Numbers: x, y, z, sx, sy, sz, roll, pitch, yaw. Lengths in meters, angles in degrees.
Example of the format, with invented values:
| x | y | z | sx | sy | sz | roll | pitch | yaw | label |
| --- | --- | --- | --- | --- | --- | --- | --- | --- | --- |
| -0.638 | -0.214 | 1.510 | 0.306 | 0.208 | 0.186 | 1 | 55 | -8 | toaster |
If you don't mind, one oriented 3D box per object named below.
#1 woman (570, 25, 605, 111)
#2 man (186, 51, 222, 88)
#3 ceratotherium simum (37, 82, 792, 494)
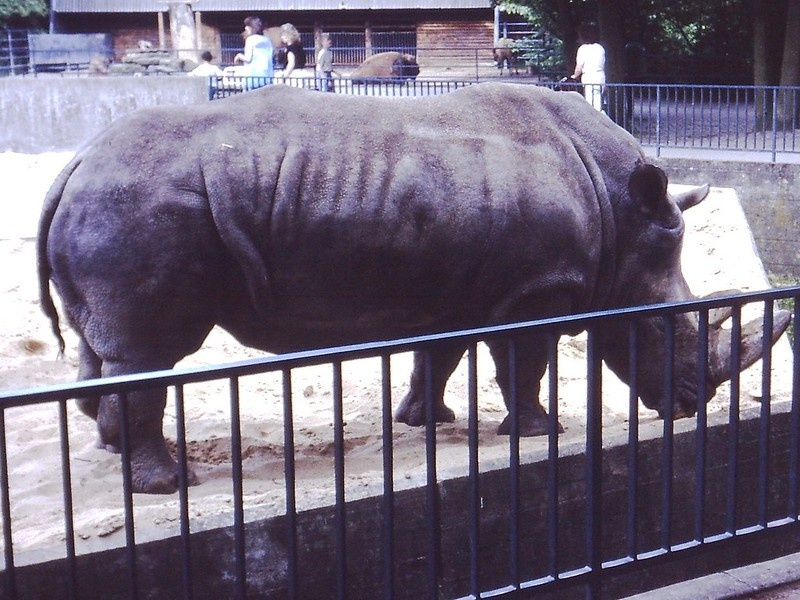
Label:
| x | y | z | sx | sy | sz | roll | pitch | yaw | label |
| --- | --- | --- | --- | --- | --- | --- | --- | --- | --- |
| 2.745 | -3.517 | 19.500 | 0.444 | 0.368 | 1.312 | -11 | -30 | 14 | woman |
| -3.691 | -4.262 | 25.188 | 0.258 | 0.424 | 0.733 | -27 | 14 | -36 | man |
| -0.263 | -0.434 | 10.614 | 6.308 | 3.233 | 2.325 | -3 | 12 | -10 | ceratotherium simum |
